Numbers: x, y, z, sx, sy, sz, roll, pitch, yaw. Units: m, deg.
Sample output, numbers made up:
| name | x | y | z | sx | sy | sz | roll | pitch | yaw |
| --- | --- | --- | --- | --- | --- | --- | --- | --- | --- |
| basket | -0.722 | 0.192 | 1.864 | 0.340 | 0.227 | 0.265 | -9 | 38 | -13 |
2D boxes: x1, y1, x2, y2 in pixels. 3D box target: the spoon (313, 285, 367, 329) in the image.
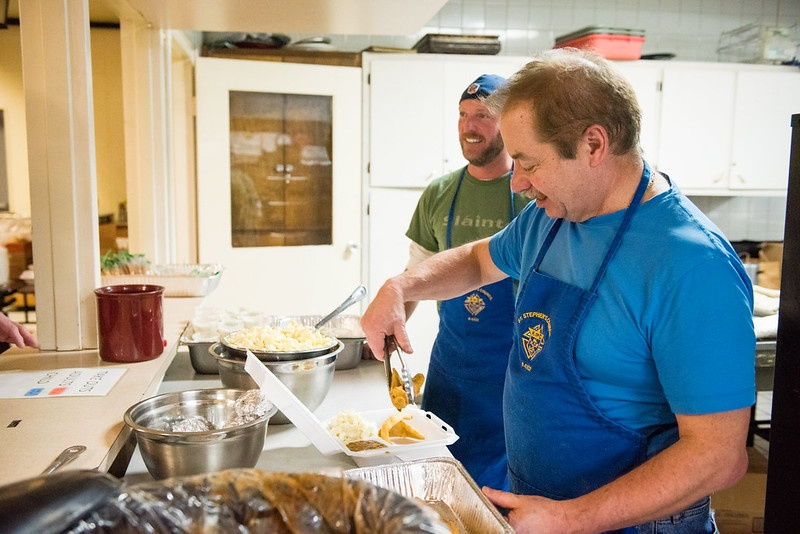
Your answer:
| name | x | y | z | sx | sy | sz | roll | pitch | yaw |
| --- | --- | --- | --- | --- | --- | --- | --- | --- | --- |
| spoon | -0.228 | 0.153 | 2.452 | 0.369 | 0.052 | 0.047 | -34 | 6 | 41 |

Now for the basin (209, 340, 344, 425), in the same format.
| name | x | y | z | sx | sy | sz | roll | pitch | yaw |
| --- | --- | --- | --- | --- | --- | --- | --- | --- | --- |
| basin | -0.385 | 0.388 | 2.124 | 0.390 | 0.189 | 0.386 | -9 | -5 | -1 |

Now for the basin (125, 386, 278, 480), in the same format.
| name | x | y | z | sx | sy | sz | roll | pitch | yaw |
| --- | --- | --- | --- | --- | --- | --- | --- | --- | --- |
| basin | -0.545 | 0.418 | 1.703 | 0.288 | 0.113 | 0.294 | 0 | -3 | 0 |

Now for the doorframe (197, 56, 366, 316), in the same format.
| name | x | y | z | sx | sy | sz | roll | pitch | yaw |
| --- | --- | --- | --- | --- | --- | --- | --- | --- | --- |
| doorframe | -0.731 | -0.345 | 4.069 | 1.058 | 1.729 | 0.210 | -6 | 12 | -39 |

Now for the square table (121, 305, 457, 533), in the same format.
| name | x | y | z | sx | sy | sz | roll | pitch | yaw |
| --- | --- | --- | --- | --- | --- | --- | --- | --- | --- |
| square table | -0.404 | 0.404 | 1.940 | 0.505 | 0.247 | 0.780 | 0 | 11 | 24 |

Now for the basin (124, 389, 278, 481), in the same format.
| name | x | y | z | sx | sy | sz | roll | pitch | yaw |
| --- | --- | --- | --- | --- | --- | --- | --- | --- | --- |
| basin | -0.534 | 0.385 | 1.695 | 0.298 | 0.115 | 0.284 | 0 | -2 | 0 |

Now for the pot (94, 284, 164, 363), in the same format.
| name | x | y | z | sx | sy | sz | roll | pitch | yaw |
| --- | --- | --- | --- | --- | --- | --- | --- | --- | --- |
| pot | -0.870 | 0.176 | 2.096 | 0.256 | 0.239 | 0.244 | 0 | 0 | 0 |

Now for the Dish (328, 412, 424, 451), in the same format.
| name | x | y | z | sx | sy | sz | roll | pitch | yaw |
| --- | --- | --- | --- | --- | --- | --- | --- | --- | --- |
| Dish | -0.072 | 0.486 | 1.923 | 0.178 | 0.028 | 0.124 | -1 | 8 | -15 |
